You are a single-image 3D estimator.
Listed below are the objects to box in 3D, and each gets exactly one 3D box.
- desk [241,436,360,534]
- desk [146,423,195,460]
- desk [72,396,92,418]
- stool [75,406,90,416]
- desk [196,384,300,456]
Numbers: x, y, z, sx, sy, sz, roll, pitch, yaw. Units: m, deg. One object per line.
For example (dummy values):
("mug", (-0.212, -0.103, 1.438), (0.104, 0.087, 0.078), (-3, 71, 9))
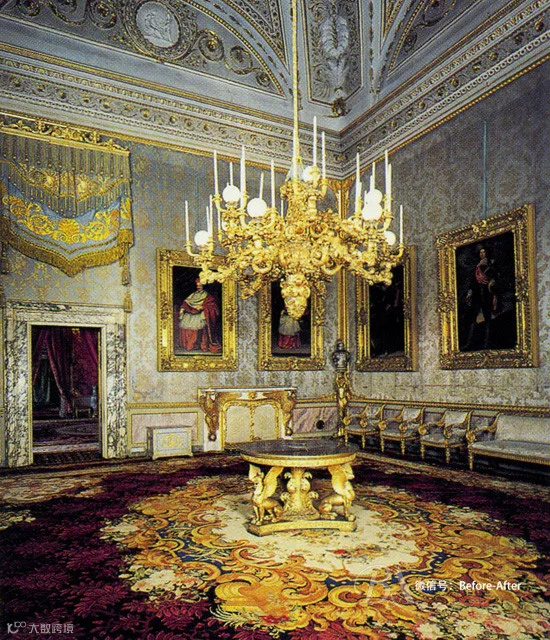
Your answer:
("desk", (0.210, 1.582, 5.519), (0.887, 0.550, 0.859), (0, 1, -9))
("desk", (-1.648, 1.975, 9.168), (0.811, 0.550, 0.497), (3, -8, -27))
("desk", (-5.882, 2.703, 17.613), (0.615, 0.905, 0.598), (4, -13, -27))
("stool", (-5.883, 2.854, 17.612), (0.327, 0.444, 0.307), (2, -12, -17))
("desk", (-0.411, 1.710, 9.867), (1.683, 1.027, 0.514), (-1, -2, -10))
